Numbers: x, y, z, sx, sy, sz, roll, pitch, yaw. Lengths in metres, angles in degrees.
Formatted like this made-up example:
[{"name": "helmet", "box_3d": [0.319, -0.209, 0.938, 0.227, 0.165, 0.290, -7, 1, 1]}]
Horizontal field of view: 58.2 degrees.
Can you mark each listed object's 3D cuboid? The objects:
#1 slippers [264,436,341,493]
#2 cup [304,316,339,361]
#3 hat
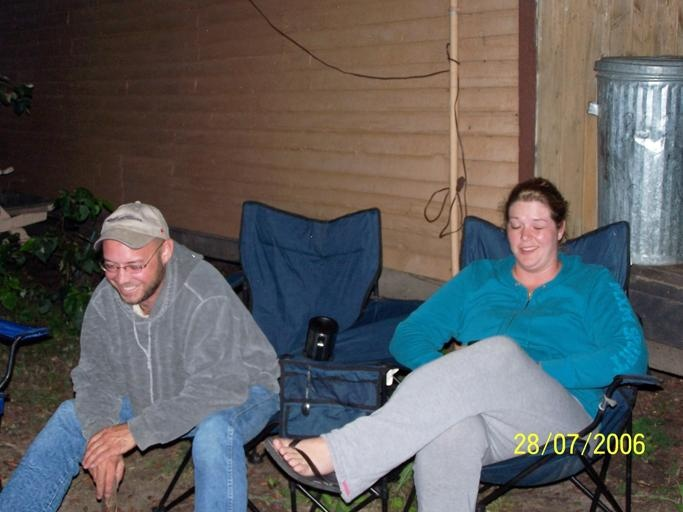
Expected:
[{"name": "slippers", "box_3d": [-0.140, 0.834, 2.541, 0.321, 0.075, 0.177, 41, -33, -6]}, {"name": "cup", "box_3d": [-0.120, 0.501, 3.485, 0.137, 0.168, 0.154, 10, 8, 6]}, {"name": "hat", "box_3d": [-0.959, -0.137, 2.787, 0.294, 0.232, 0.409, -2, 1, 15]}]
